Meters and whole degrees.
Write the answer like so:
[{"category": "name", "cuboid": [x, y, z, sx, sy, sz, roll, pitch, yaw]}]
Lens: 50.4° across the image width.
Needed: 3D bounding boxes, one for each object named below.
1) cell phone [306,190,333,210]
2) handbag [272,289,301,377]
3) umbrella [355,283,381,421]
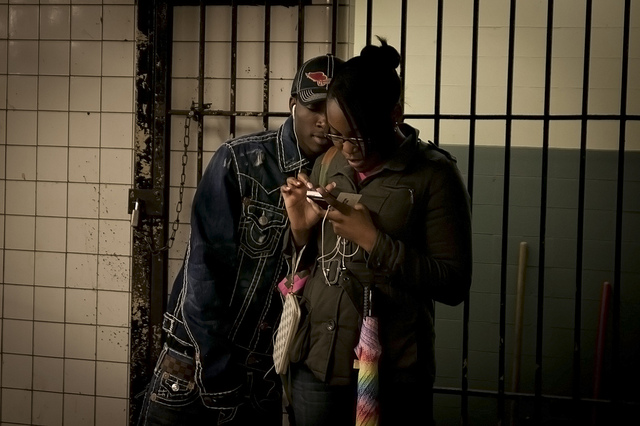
[{"category": "cell phone", "cuboid": [-0.013, -0.087, 4.477, 0.125, 0.034, 0.133, 43, -16, -25]}, {"category": "handbag", "cuboid": [-0.230, 0.807, 4.581, 0.090, 0.454, 0.418, 9, -10, -6]}, {"category": "umbrella", "cuboid": [0.317, 0.902, 4.383, 0.161, 0.883, 0.078, 4, -3, 7]}]
